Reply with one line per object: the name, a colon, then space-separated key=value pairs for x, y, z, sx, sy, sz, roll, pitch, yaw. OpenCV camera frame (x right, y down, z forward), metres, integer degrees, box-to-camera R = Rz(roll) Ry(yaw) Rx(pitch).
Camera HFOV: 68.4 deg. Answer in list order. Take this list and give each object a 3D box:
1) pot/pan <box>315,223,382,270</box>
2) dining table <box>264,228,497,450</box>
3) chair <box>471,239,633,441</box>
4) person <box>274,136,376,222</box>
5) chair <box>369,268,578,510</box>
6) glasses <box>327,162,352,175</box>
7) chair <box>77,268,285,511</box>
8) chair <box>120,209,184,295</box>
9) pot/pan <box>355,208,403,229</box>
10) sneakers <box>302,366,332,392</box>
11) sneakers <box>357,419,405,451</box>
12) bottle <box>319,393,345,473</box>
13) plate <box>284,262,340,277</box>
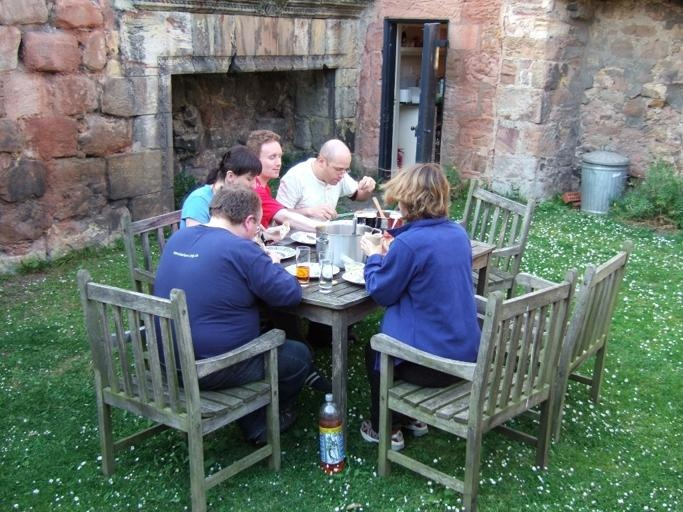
pot/pan: x=0.026 y=-0.087 z=3.417 sx=0.326 sy=0.240 sz=0.290 roll=0 pitch=12 yaw=-8
dining table: x=0.242 y=0.415 z=3.311 sx=1.087 sy=1.191 sz=1.472 roll=12 pitch=21 yaw=34
chair: x=1.354 y=0.577 z=3.214 sx=0.817 sy=1.343 sz=0.738 roll=-20 pitch=28 yaw=-41
person: x=-0.142 y=-0.392 z=4.456 sx=0.741 sy=1.189 sz=0.634 roll=3 pitch=-11 yaw=-24
chair: x=0.706 y=0.766 z=2.773 sx=0.849 sy=1.291 sz=0.750 roll=-14 pitch=21 yaw=-43
glasses: x=0.011 y=-0.753 z=4.285 sx=0.079 sy=0.095 sz=0.222 roll=13 pitch=20 yaw=37
chair: x=-0.838 y=0.770 z=2.743 sx=0.833 sy=1.284 sz=0.763 roll=9 pitch=19 yaw=31
chair: x=-1.468 y=-0.032 z=3.854 sx=0.233 sy=0.480 sz=0.713 roll=12 pitch=24 yaw=11
pot/pan: x=0.261 y=-0.277 z=3.626 sx=0.271 sy=0.111 sz=0.216 roll=0 pitch=13 yaw=3
sneakers: x=-0.143 y=0.807 z=3.206 sx=0.170 sy=0.076 sz=0.177 roll=23 pitch=-31 yaw=-18
sneakers: x=0.246 y=1.117 z=3.158 sx=0.282 sy=0.121 sz=0.121 roll=24 pitch=24 yaw=36
bottle: x=-0.030 y=1.004 z=2.889 sx=0.206 sy=0.494 sz=0.109 roll=-12 pitch=20 yaw=-39
plate: x=-0.183 y=0.086 z=3.196 sx=0.157 sy=0.023 sz=0.162 roll=12 pitch=18 yaw=31
